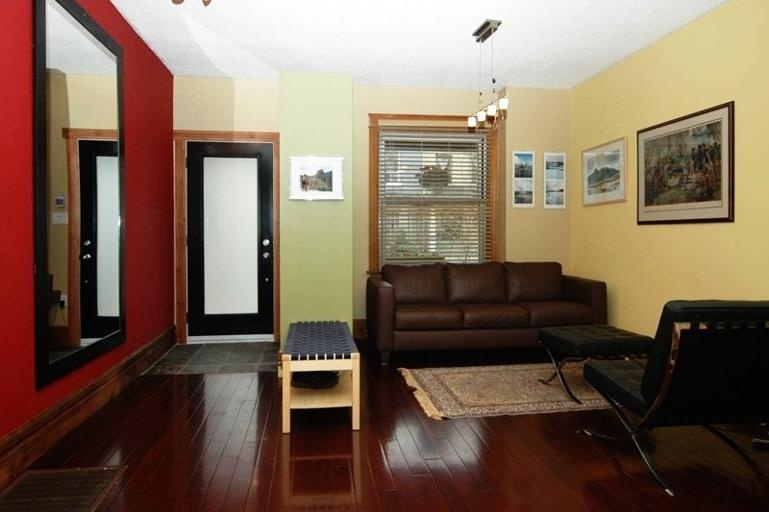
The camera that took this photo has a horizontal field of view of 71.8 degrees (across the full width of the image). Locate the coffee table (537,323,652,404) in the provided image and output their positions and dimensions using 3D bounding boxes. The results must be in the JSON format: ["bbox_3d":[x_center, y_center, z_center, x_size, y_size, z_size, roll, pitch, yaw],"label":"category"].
[{"bbox_3d":[1.979,0.965,5.108,0.989,0.482,0.986,-2,2,5],"label":"coffee table"}]

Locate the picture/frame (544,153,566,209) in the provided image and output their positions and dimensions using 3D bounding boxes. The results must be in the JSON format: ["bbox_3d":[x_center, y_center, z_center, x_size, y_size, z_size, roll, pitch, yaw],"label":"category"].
[{"bbox_3d":[2.189,-0.968,6.871,0.333,0.700,0.023,-2,3,-16],"label":"picture/frame"}]

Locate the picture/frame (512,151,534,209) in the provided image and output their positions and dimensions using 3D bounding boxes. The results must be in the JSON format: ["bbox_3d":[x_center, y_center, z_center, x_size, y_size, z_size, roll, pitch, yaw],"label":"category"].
[{"bbox_3d":[1.764,-0.974,6.801,0.311,0.706,0.023,-2,4,-12],"label":"picture/frame"}]

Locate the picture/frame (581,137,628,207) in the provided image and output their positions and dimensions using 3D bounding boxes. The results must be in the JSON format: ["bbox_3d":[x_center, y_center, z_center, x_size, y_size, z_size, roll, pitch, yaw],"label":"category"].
[{"bbox_3d":[2.596,-0.958,6.336,0.032,0.701,0.701,-3,2,-23],"label":"picture/frame"}]

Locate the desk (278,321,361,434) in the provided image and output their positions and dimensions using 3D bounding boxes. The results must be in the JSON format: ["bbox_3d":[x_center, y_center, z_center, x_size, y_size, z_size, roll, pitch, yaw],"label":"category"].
[{"bbox_3d":[-0.634,1.054,5.116,0.713,0.590,1.678,0,3,-6],"label":"desk"}]

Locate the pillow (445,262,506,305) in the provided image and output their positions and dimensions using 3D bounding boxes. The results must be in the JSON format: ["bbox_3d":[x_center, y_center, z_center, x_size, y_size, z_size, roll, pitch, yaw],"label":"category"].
[{"bbox_3d":[1.087,0.343,6.394,0.781,0.514,0.269,-3,-8,-4],"label":"pillow"}]

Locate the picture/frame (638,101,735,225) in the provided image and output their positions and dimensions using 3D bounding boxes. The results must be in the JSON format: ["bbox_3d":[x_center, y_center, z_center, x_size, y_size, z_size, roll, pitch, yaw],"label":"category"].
[{"bbox_3d":[2.999,-0.876,5.328,0.216,1.219,1.126,-4,13,-17],"label":"picture/frame"}]

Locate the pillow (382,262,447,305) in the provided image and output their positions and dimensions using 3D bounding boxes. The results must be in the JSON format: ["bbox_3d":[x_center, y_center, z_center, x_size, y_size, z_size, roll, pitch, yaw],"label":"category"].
[{"bbox_3d":[0.349,0.340,6.288,0.799,0.520,0.272,0,1,-19],"label":"pillow"}]
